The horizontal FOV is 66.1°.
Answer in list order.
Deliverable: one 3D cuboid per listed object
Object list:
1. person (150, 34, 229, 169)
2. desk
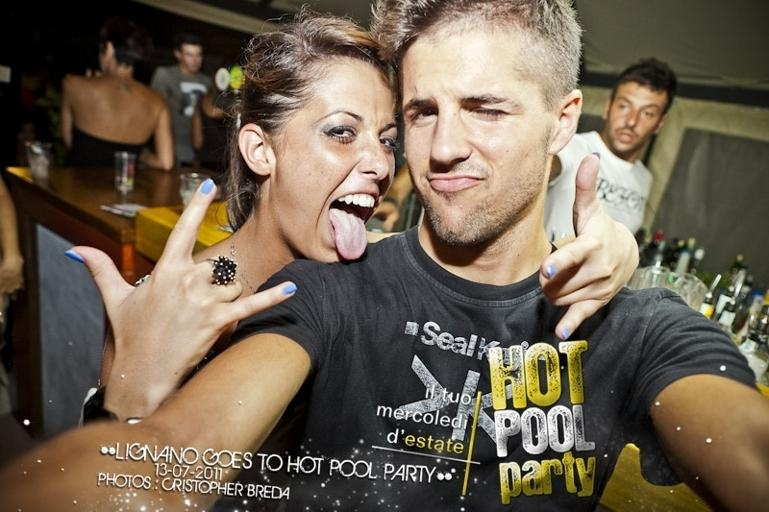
[{"bbox_3d":[-1.439,-0.909,4.317,0.495,1.439,0.403,-6,36,-33],"label":"person"},{"bbox_3d":[-1.771,0.170,3.889,1.198,2.102,1.295,9,10,14],"label":"desk"}]
